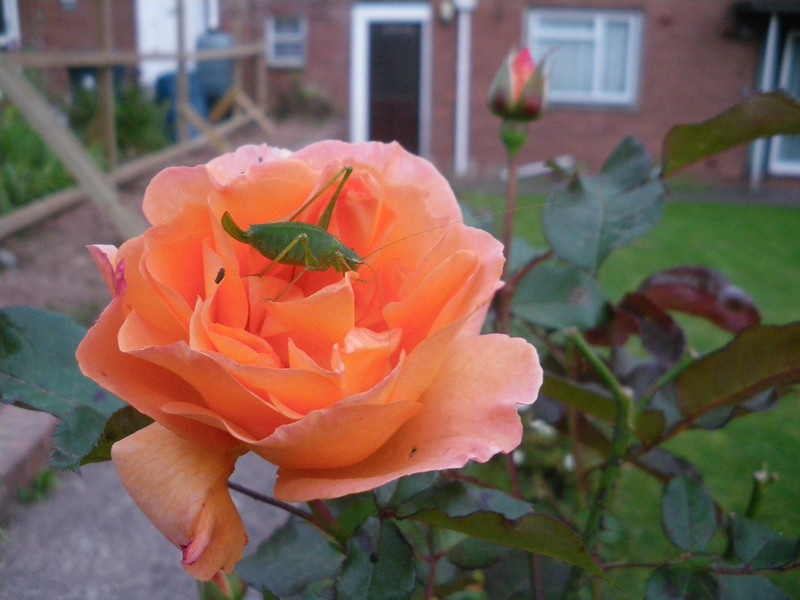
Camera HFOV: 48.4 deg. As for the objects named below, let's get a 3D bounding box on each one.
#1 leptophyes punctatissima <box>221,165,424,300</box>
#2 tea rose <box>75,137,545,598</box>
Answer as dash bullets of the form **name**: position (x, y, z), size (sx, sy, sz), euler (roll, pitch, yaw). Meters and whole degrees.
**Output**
- **leptophyes punctatissima**: position (-0.058, -0.051, 0.635), size (0.113, 0.114, 0.097), euler (-7, 15, -37)
- **tea rose**: position (-0.063, 0.034, 0.582), size (0.236, 0.417, 0.191), euler (-5, 7, -40)
